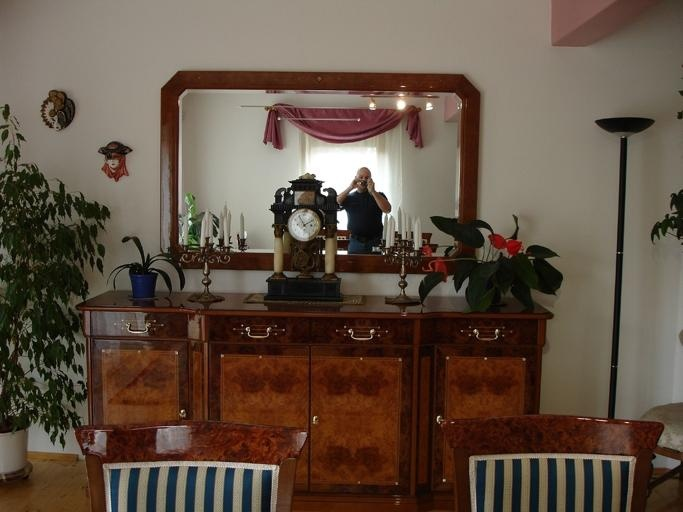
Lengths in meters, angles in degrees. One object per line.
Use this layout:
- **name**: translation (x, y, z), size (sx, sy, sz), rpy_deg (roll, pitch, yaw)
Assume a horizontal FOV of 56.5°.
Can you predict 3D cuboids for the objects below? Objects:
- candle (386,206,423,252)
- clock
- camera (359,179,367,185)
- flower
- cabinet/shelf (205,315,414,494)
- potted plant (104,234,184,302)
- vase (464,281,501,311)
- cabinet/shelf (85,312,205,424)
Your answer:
- **candle**: translation (0.339, -0.147, 3.563), size (0.211, 0.247, 0.228), rpy_deg (1, 3, -2)
- **clock**: translation (-0.213, -0.101, 3.590), size (0.429, 0.727, 0.231), rpy_deg (1, -7, -3)
- **camera**: translation (0.127, -0.424, 3.667), size (0.030, 0.033, 0.008), rpy_deg (1, 1, 0)
- **flower**: translation (0.818, 0.034, 3.457), size (0.786, 0.403, 0.895), rpy_deg (-11, -13, 26)
- **cabinet/shelf**: translation (-0.153, 0.815, 3.480), size (1.132, 1.091, 0.435), rpy_deg (0, -4, 5)
- **potted plant**: translation (-1.112, 0.078, 3.615), size (0.373, 0.303, 0.376), rpy_deg (1, 2, 41)
- **vase**: translation (0.772, 0.210, 3.353), size (0.117, 0.158, 0.317), rpy_deg (1, 3, 40)
- **cabinet/shelf**: translation (-1.012, 0.565, 3.322), size (0.503, 0.706, 0.271), rpy_deg (0, 2, -1)
